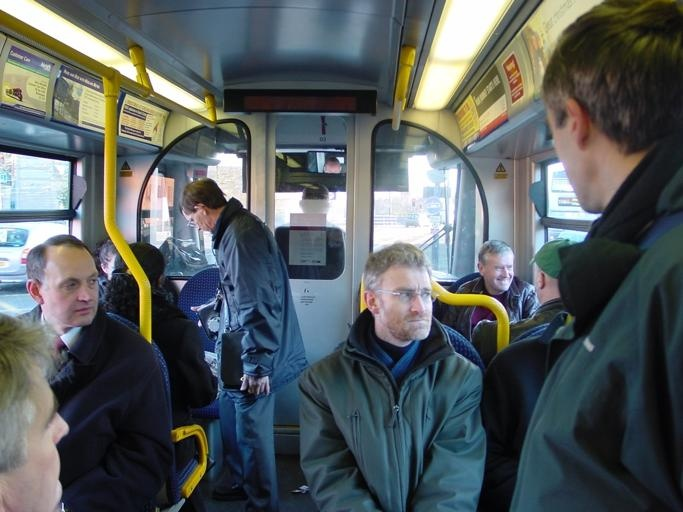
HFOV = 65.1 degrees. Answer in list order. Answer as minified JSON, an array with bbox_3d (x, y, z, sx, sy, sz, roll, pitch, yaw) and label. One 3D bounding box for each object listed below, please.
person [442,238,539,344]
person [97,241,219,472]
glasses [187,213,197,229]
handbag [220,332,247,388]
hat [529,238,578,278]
[{"bbox_3d":[1.092,0.288,3.871,0.720,0.761,0.542,0,26,1],"label":"person"},{"bbox_3d":[-1.128,0.579,3.088,0.741,1.366,0.720,1,7,-21],"label":"person"},{"bbox_3d":[-1.091,-0.261,3.910,0.080,0.087,0.025,18,-18,-5],"label":"glasses"},{"bbox_3d":[-0.670,0.641,3.271,0.156,0.354,0.082,-2,1,1],"label":"handbag"},{"bbox_3d":[0.926,0.001,2.363,0.172,0.154,0.256,6,29,11],"label":"hat"}]
